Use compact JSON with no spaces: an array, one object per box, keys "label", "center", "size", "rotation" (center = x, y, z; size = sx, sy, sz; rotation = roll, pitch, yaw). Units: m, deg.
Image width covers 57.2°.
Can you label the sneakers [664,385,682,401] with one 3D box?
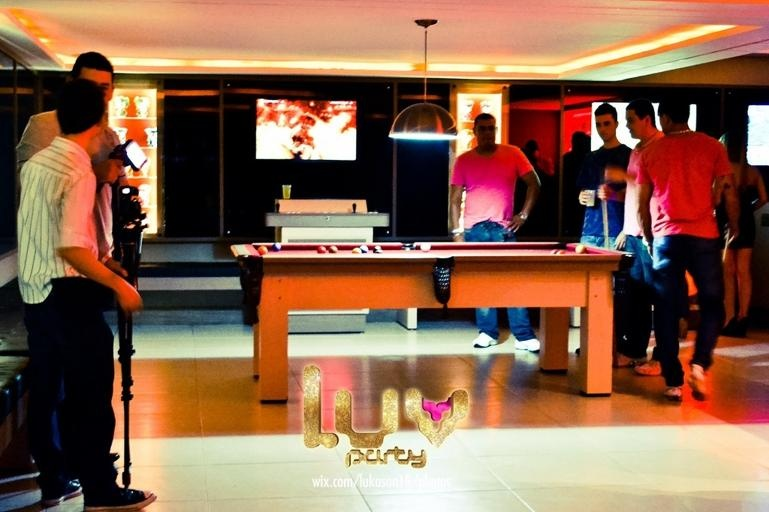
[{"label":"sneakers","center":[2.363,1.122,5.763],"size":[0.157,0.091,0.076],"rotation":[-5,7,-13]}]

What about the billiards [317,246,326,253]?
[{"label":"billiards","center":[-0.531,-0.051,5.990],"size":[0.080,0.060,0.061],"rotation":[2,42,12]}]

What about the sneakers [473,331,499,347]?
[{"label":"sneakers","center":[1.096,0.912,7.587],"size":[0.124,0.110,0.289],"rotation":[-7,-10,40]}]

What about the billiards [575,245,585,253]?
[{"label":"billiards","center":[1.677,-0.064,6.021],"size":[0.078,0.081,0.074],"rotation":[-5,-4,16]}]

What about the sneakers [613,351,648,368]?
[{"label":"sneakers","center":[2.309,0.981,6.755],"size":[0.378,0.137,0.120],"rotation":[-7,2,2]}]

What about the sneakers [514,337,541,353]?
[{"label":"sneakers","center":[1.487,0.925,7.317],"size":[0.135,0.095,0.261],"rotation":[2,-4,-36]}]

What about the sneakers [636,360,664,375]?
[{"label":"sneakers","center":[2.440,1.029,6.473],"size":[0.212,0.077,0.109],"rotation":[3,-7,-14]}]

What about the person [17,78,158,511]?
[{"label":"person","center":[-1.638,0.245,3.861],"size":[0.637,2.402,0.421],"rotation":[-3,3,-24]}]

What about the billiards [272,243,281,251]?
[{"label":"billiards","center":[-0.928,-0.080,6.085],"size":[0.053,0.060,0.064],"rotation":[-1,14,-2]}]

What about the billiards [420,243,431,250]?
[{"label":"billiards","center":[0.376,-0.087,6.468],"size":[0.072,0.045,0.067],"rotation":[0,1,-2]}]

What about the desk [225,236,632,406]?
[{"label":"desk","center":[0.396,0.524,5.960],"size":[3.035,1.283,0.998],"rotation":[-2,3,-11]}]

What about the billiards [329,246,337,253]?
[{"label":"billiards","center":[-0.439,-0.059,6.026],"size":[0.054,0.047,0.062],"rotation":[-2,-13,1]}]

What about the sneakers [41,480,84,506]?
[{"label":"sneakers","center":[-1.859,1.349,4.115],"size":[0.274,0.101,0.099],"rotation":[-10,12,-41]}]
